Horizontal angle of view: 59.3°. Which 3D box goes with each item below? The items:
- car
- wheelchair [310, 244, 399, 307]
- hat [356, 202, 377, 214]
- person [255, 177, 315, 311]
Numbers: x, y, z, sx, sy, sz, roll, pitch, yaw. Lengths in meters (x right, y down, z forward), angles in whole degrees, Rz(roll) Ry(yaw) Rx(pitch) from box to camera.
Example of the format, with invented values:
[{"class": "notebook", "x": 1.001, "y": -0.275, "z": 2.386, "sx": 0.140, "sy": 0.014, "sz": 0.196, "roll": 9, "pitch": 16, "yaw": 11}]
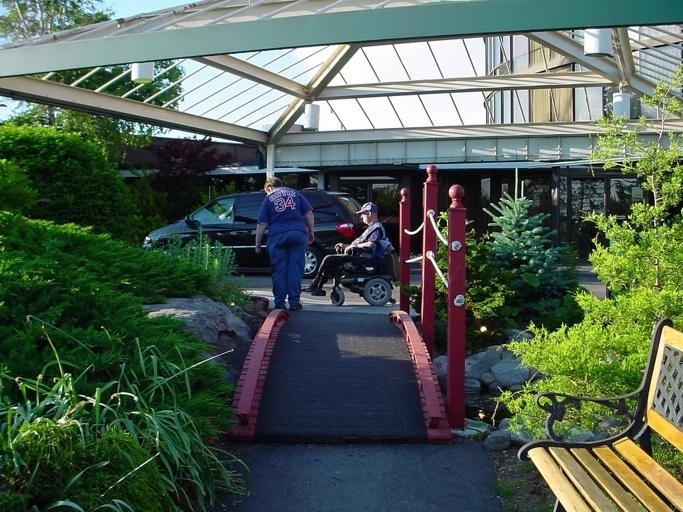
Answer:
[{"class": "car", "x": -2.052, "y": -0.576, "z": 14.223, "sx": 5.020, "sy": 1.472, "sz": 2.215, "roll": 1, "pitch": 0, "yaw": 6}, {"class": "wheelchair", "x": 0.232, "y": 0.226, "z": 11.210, "sx": 1.702, "sy": 1.390, "sz": 1.271, "roll": 4, "pitch": -6, "yaw": 19}, {"class": "hat", "x": 0.395, "y": -0.838, "z": 10.548, "sx": 0.403, "sy": 0.183, "sz": 0.234, "roll": 1, "pitch": 2, "yaw": 13}, {"class": "person", "x": -0.831, "y": -0.160, "z": 8.644, "sx": 0.516, "sy": 1.908, "sz": 0.749, "roll": 3, "pitch": 8, "yaw": 32}]
